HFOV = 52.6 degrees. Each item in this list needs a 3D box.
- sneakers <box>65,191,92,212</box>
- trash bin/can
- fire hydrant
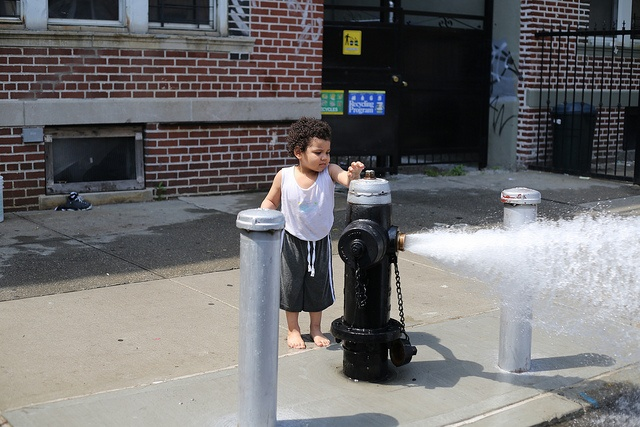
[{"bbox_3d":[-3.287,-0.146,8.765,0.338,0.213,0.179,0,15,-11],"label":"sneakers"},{"bbox_3d":[4.893,-1.444,12.459,0.979,1.406,1.003,12,19,43],"label":"trash bin/can"},{"bbox_3d":[0.401,0.463,4.846,0.630,1.567,0.347,0,10,0],"label":"fire hydrant"}]
